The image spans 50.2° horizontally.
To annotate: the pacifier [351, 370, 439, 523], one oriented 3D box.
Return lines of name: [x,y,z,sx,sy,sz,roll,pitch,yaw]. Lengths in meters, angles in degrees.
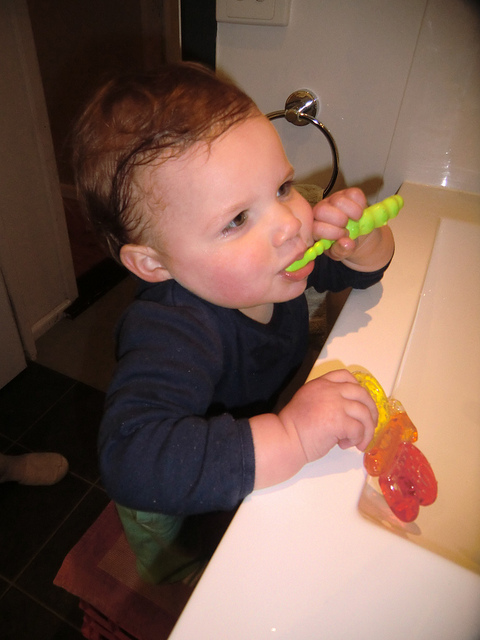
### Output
pacifier: [0.155,0.135,0.522,0.084,0.120,0.078,-7,37,-22]

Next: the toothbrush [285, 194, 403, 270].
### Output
toothbrush: [0.149,-0.123,0.725,0.189,0.044,0.034,-37,16,-7]
